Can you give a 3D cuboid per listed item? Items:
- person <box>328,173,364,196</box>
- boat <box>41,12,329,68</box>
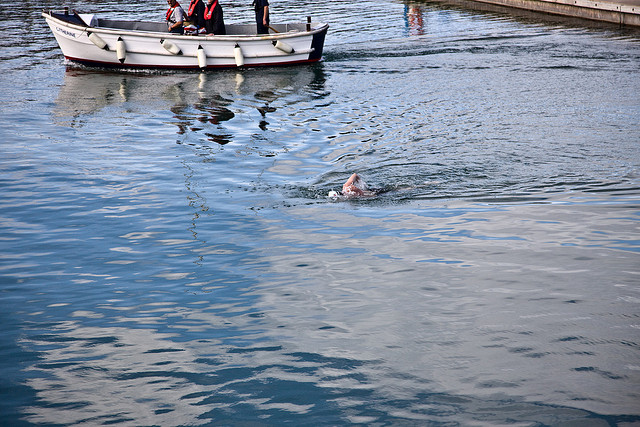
[{"bbox_3d":[0.656,-0.614,19.342,0.687,0.157,0.587,15,49,6],"label":"person"},{"bbox_3d":[-4.373,-5.691,30.043,9.275,0.933,2.068,-2,23,-14],"label":"boat"}]
